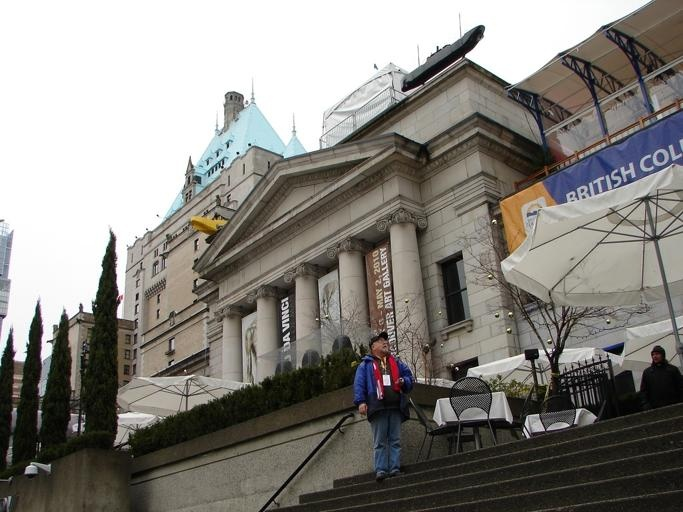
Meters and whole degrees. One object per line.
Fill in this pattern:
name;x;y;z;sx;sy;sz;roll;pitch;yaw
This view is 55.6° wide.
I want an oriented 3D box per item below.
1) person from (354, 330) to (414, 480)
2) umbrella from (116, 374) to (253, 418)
person;0.799;2.709;12.069;1.089;2.698;0.749;-5;-21;-2
umbrella;-6.353;5.221;24.637;3.195;1.162;4.786;15;-31;-42
